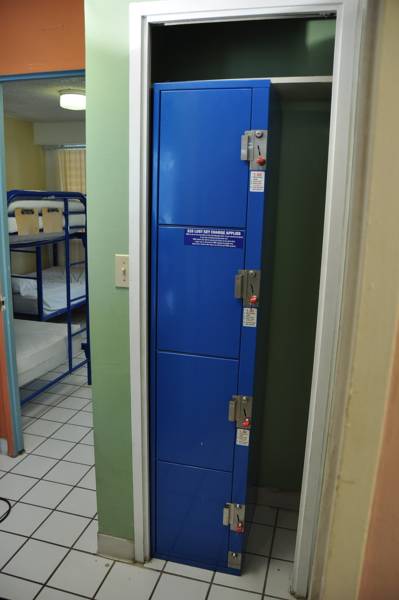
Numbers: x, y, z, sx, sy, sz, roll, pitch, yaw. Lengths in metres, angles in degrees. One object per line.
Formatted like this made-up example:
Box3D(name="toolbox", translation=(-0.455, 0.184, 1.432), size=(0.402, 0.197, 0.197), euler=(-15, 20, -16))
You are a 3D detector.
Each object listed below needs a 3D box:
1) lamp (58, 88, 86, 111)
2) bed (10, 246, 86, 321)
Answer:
Box3D(name="lamp", translation=(-0.981, -1.560, 3.648), size=(0.181, 0.118, 0.233), euler=(-1, 11, -20))
Box3D(name="bed", translation=(-1.567, -0.150, 5.092), size=(0.635, 0.786, 1.067), euler=(5, 15, 12))
